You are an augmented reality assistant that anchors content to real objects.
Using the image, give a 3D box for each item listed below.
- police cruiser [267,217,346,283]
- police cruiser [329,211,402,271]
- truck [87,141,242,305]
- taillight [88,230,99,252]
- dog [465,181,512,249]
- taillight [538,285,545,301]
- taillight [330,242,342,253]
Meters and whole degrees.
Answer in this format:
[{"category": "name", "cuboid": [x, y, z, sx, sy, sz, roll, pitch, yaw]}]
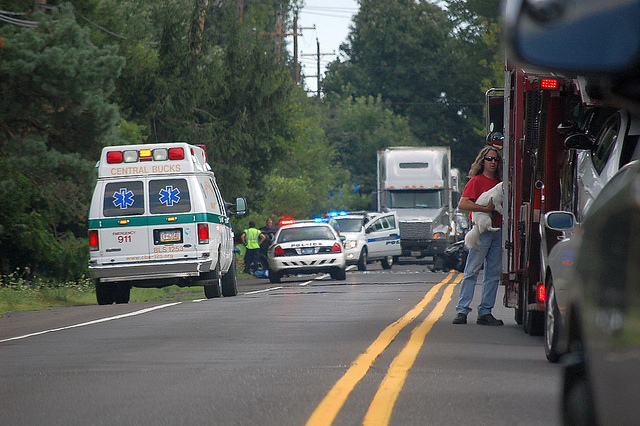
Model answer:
[{"category": "police cruiser", "cuboid": [-0.447, 1.484, 29.565, 2.680, 2.533, 6.586, -2, -2, -3]}, {"category": "police cruiser", "cuboid": [1.964, 1.366, 34.891, 2.411, 2.817, 5.784, -13, -7, 29]}, {"category": "truck", "cuboid": [-3.796, 0.174, 20.359, 3.003, 3.819, 5.956, -3, 1, 2]}, {"category": "taillight", "cuboid": [-5.160, 0.612, 17.494, 0.248, 0.471, 0.109, -1, 1, 9]}, {"category": "dog", "cuboid": [2.610, 0.030, 11.861, 0.660, 1.039, 0.485, -1, 2, 9]}, {"category": "taillight", "cuboid": [2.855, 1.019, 9.802, 0.066, 0.231, 0.334, -1, 2, 12]}, {"category": "taillight", "cuboid": [0.574, 1.173, 26.490, 0.445, 0.365, 0.145, -2, 2, -27]}]
